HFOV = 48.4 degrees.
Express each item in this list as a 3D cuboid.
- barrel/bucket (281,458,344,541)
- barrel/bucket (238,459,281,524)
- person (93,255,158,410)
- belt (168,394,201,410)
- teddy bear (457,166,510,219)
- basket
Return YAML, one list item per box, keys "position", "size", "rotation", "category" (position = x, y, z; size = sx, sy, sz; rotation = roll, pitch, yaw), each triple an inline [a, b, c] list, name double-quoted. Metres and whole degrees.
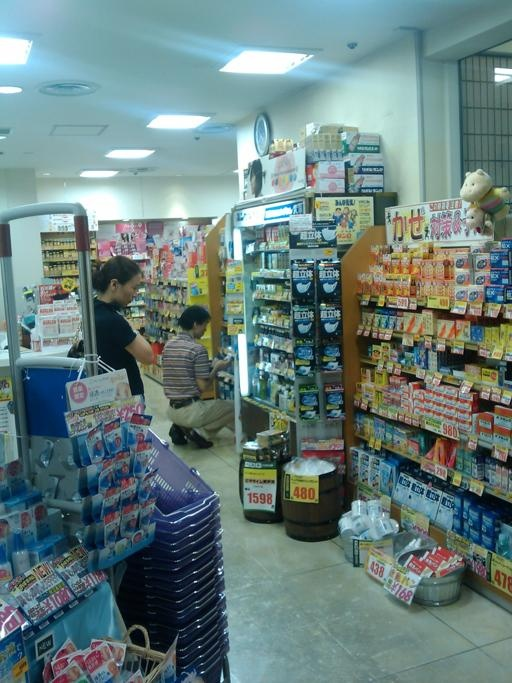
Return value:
- position: [0.324, 1.073, 4.031]
  size: [0.502, 0.499, 0.497]
  rotation: [-2, 5, 0]
  category: "barrel/bucket"
- position: [0.044, 1.130, 4.371]
  size: [0.422, 0.424, 0.405]
  rotation: [2, -8, 0]
  category: "barrel/bucket"
- position: [-0.751, -0.090, 3.186]
  size: [0.292, 0.753, 0.475]
  rotation: [-6, 6, -13]
  category: "person"
- position: [-0.803, 0.662, 6.143]
  size: [0.175, 0.072, 0.194]
  rotation: [-7, 5, 11]
  category: "belt"
- position: [1.210, -0.781, 3.033]
  size: [0.225, 0.250, 0.230]
  rotation: [-2, 6, 20]
  category: "teddy bear"
- position: [-0.260, 0.781, 1.923]
  size: [0.349, 0.921, 0.346]
  rotation: [-9, 7, -36]
  category: "basket"
